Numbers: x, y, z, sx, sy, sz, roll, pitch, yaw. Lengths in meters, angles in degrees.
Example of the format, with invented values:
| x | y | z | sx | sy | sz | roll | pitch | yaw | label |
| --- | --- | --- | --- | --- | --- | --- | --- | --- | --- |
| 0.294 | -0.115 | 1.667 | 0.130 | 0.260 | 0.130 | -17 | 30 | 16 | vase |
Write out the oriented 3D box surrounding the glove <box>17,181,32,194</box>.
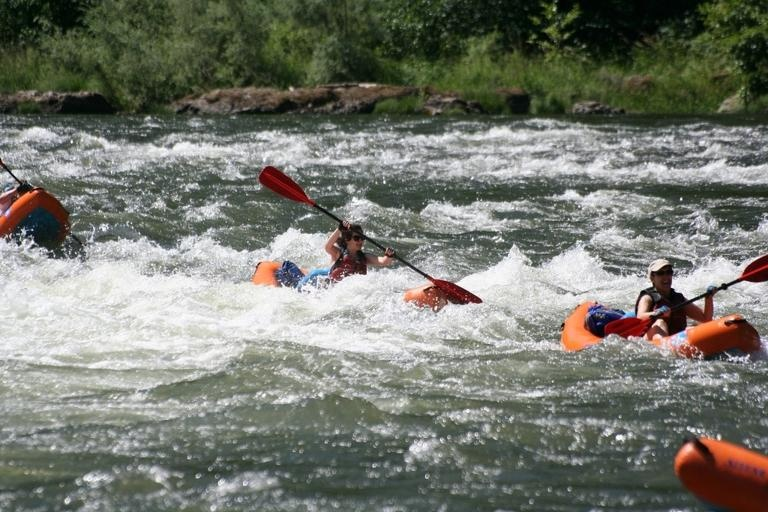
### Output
| x | y | z | sx | sy | sz | roll | pitch | yaw | label |
| --- | --- | --- | --- | --- | --- | --- | --- | --- | --- |
| -6.820 | -1.264 | 19.968 | 0.309 | 0.127 | 0.409 | -10 | 10 | -28 | glove |

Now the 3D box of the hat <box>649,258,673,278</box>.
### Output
| x | y | z | sx | sy | sz | roll | pitch | yaw | label |
| --- | --- | --- | --- | --- | --- | --- | --- | --- | --- |
| 4.555 | 0.208 | 17.648 | 0.349 | 0.226 | 0.462 | -14 | -16 | -7 | hat |

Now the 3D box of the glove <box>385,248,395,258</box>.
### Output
| x | y | z | sx | sy | sz | roll | pitch | yaw | label |
| --- | --- | --- | --- | --- | --- | --- | --- | --- | --- |
| 0.109 | -0.050 | 18.626 | 0.125 | 0.155 | 0.054 | 20 | 24 | 9 | glove |

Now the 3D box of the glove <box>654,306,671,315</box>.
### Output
| x | y | z | sx | sy | sz | roll | pitch | yaw | label |
| --- | --- | --- | --- | --- | --- | --- | --- | --- | --- |
| 4.528 | 0.897 | 17.227 | 0.161 | 0.057 | 0.153 | -19 | 19 | -4 | glove |

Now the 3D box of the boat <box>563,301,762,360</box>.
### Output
| x | y | z | sx | sy | sz | roll | pitch | yaw | label |
| --- | --- | --- | --- | --- | --- | --- | --- | --- | --- |
| 4.710 | 1.334 | 17.055 | 1.877 | 0.543 | 1.241 | -1 | 7 | 35 | boat |

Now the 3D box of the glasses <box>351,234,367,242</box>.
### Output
| x | y | z | sx | sy | sz | roll | pitch | yaw | label |
| --- | --- | --- | --- | --- | --- | --- | --- | --- | --- |
| -0.428 | -0.298 | 18.725 | 0.230 | 0.171 | 0.147 | -10 | 26 | -32 | glasses |

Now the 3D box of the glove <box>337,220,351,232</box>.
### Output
| x | y | z | sx | sy | sz | roll | pitch | yaw | label |
| --- | --- | --- | --- | --- | --- | --- | --- | --- | --- |
| -0.703 | -0.533 | 18.669 | 0.196 | 0.195 | 0.193 | 0 | 22 | -11 | glove |
